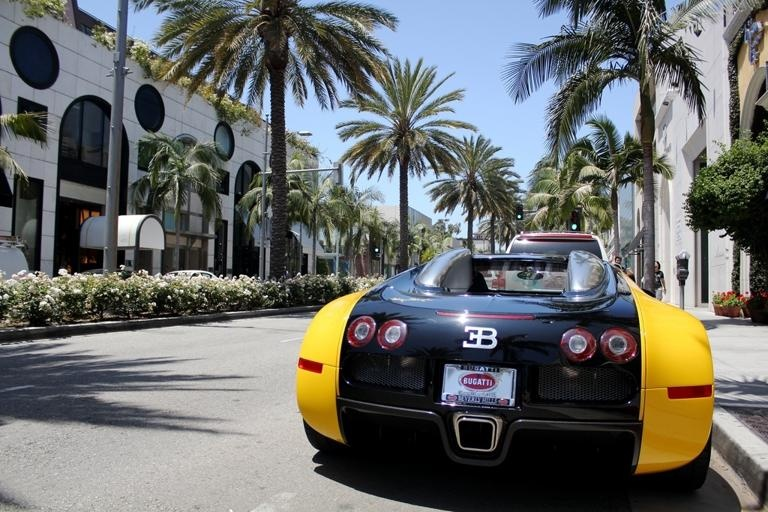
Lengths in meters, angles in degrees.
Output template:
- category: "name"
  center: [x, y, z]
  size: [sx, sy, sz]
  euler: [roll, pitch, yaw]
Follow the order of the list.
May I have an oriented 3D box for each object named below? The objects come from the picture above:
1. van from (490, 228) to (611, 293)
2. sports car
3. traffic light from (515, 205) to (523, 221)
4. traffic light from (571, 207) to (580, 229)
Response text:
- category: "van"
  center: [3.864, -0.050, 13.115]
  size: [1.760, 1.103, 0.988]
  euler: [9, -39, 20]
- category: "sports car"
  center: [1.093, 0.978, 4.898]
  size: [1.892, 1.115, 3.440]
  euler: [1, -6, 14]
- category: "traffic light"
  center: [6.517, -2.143, 27.120]
  size: [0.253, 0.795, 0.863]
  euler: [1, 0, 20]
- category: "traffic light"
  center: [7.977, -1.558, 23.616]
  size: [0.312, 0.918, 0.437]
  euler: [1, 0, 13]
